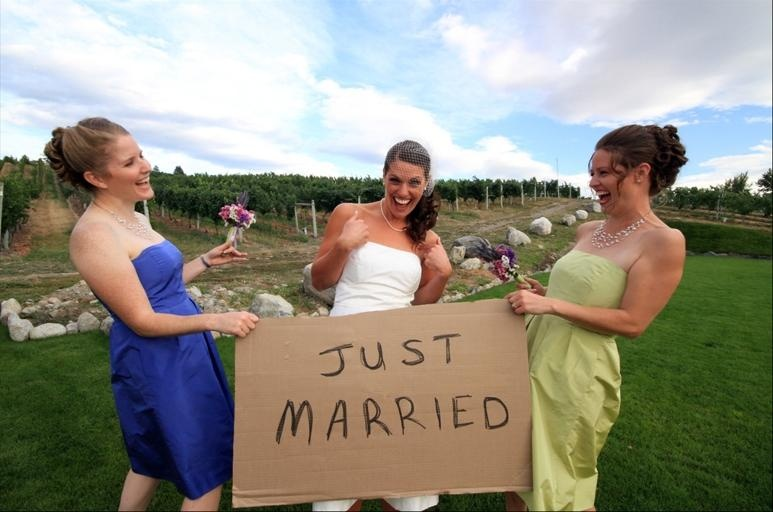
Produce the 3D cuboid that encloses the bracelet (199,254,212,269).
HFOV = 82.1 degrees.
[{"bbox_3d":[-2.047,0.062,4.976,0.040,0.139,0.150,-28,-18,3],"label":"bracelet"}]

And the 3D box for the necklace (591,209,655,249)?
[{"bbox_3d":[2.299,-0.256,4.512,0.367,0.028,0.348,-31,32,30],"label":"necklace"}]

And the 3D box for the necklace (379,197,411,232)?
[{"bbox_3d":[0.045,-0.412,4.747,0.267,0.344,0.084,17,36,31],"label":"necklace"}]

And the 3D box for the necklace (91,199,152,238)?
[{"bbox_3d":[-2.512,-0.302,4.357,0.473,0.318,0.496,0,-19,43],"label":"necklace"}]
